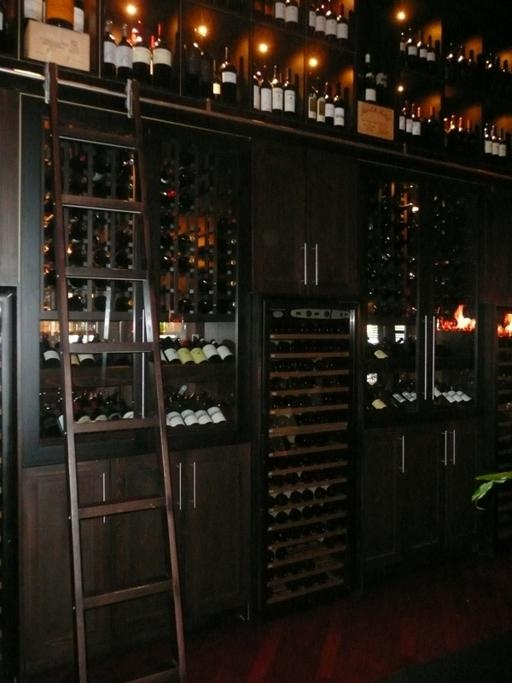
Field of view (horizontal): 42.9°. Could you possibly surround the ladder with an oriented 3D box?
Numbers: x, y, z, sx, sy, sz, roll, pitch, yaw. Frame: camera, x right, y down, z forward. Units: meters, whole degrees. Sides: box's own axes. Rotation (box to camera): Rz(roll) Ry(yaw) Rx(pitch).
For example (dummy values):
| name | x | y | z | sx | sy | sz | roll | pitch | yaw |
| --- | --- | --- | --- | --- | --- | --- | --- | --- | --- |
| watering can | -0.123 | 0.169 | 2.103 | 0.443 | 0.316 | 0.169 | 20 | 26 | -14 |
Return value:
| name | x | y | z | sx | sy | sz | roll | pitch | yaw |
| --- | --- | --- | --- | --- | --- | --- | --- | --- | --- |
| ladder | -0.508 | 0.078 | 2.311 | 0.389 | 2.166 | 0.664 | -1 | 5 | -23 |
